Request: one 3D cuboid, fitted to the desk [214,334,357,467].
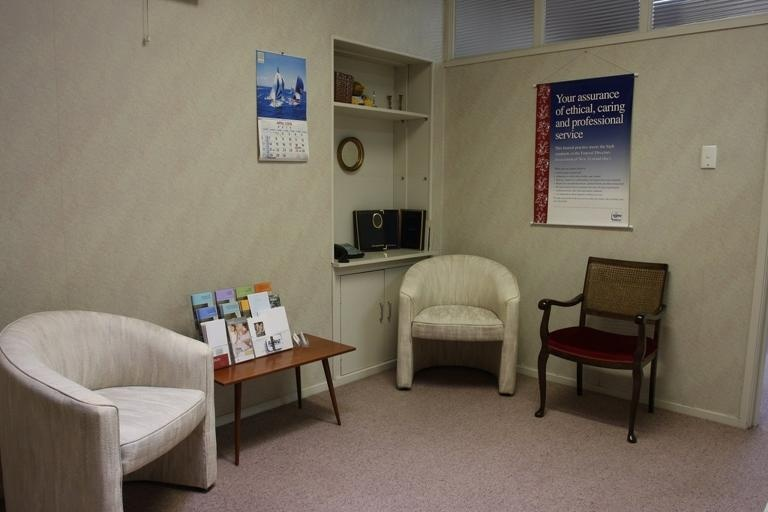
[{"bbox_3d":[-0.842,1.044,4.304,0.838,0.661,1.194,5,7,39],"label":"desk"}]

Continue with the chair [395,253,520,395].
[{"bbox_3d":[0.647,0.581,5.114,1.008,1.085,0.918,1,9,4],"label":"chair"}]

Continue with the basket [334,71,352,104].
[{"bbox_3d":[-0.338,-1.469,5.006,0.101,0.256,0.326,6,11,22],"label":"basket"}]

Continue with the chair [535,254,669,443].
[{"bbox_3d":[1.688,0.652,4.507,0.885,1.224,0.738,8,12,28],"label":"chair"}]
